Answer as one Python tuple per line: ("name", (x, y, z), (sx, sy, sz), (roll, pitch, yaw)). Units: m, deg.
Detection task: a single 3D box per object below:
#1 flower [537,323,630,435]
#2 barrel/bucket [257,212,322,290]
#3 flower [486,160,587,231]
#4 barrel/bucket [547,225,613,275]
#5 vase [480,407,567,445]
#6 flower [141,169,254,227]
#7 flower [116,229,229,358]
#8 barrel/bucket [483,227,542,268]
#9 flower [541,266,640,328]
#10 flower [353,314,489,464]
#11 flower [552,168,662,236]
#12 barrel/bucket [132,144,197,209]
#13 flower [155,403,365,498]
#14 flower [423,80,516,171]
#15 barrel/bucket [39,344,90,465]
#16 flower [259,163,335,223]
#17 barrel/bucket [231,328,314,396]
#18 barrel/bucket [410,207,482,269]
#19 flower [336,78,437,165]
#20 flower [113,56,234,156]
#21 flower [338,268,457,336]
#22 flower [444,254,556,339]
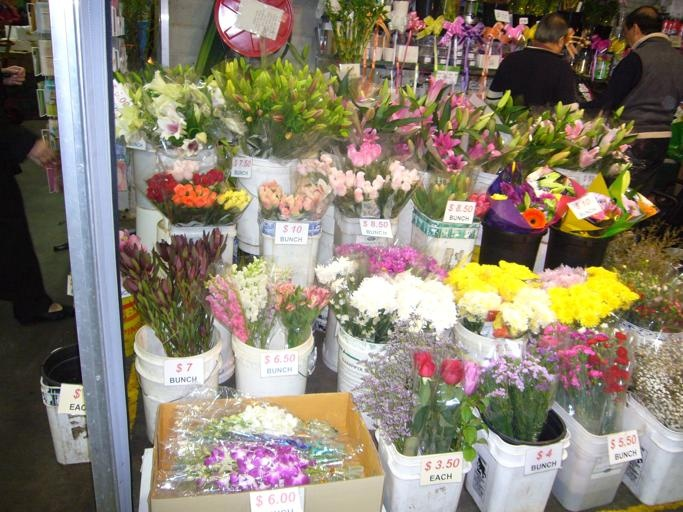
("flower", (0.940, 0.484, 1.942), (0.283, 0.400, 0.309), (-9, 15, -24))
("barrel/bucket", (-0.238, -0.050, 2.481), (0.283, 0.540, 0.303), (4, 18, -1))
("flower", (1.061, -0.360, 2.682), (0.559, 0.291, 0.610), (0, 2, 43))
("barrel/bucket", (1.227, -0.050, 2.650), (0.240, 0.283, 0.246), (5, 12, -1))
("vase", (0.718, 0.671, 1.876), (0.187, 0.077, 0.181), (-2, 24, -1))
("flower", (-0.682, -0.274, 2.312), (0.346, 0.192, 0.292), (0, 21, -7))
("flower", (-0.650, 0.101, 2.168), (0.444, 0.592, 0.438), (-3, 7, -18))
("barrel/bucket", (0.874, -0.084, 2.562), (0.224, 0.194, 0.222), (10, 10, -2))
("flower", (1.050, 0.168, 2.105), (0.291, 0.142, 0.307), (-13, 34, -21))
("flower", (0.334, 0.463, 1.854), (0.421, 0.518, 0.424), (-8, 15, -21))
("flower", (1.333, -0.237, 2.512), (0.394, 0.236, 0.387), (-33, 36, -32))
("barrel/bucket", (-0.927, -0.466, 2.703), (0.300, 0.440, 0.296), (8, 26, -4))
("flower", (-0.283, 0.677, 1.743), (0.506, 0.170, 0.322), (-5, 44, -10))
("flower", (0.691, -0.682, 2.657), (0.532, 0.424, 0.489), (11, 24, 10))
("barrel/bucket", (-1.219, 0.683, 2.213), (0.160, 0.507, 0.382), (-10, 28, -33))
("flower", (-0.201, -0.291, 2.395), (0.301, 0.187, 0.295), (2, 31, 1))
("barrel/bucket", (-0.289, 0.453, 2.111), (0.250, 0.249, 0.266), (4, 28, -2))
("barrel/bucket", (0.572, -0.129, 2.654), (0.314, 0.294, 0.329), (1, 30, 0))
("flower", (0.249, -0.764, 2.703), (0.462, 0.357, 0.482), (6, 33, 5))
("flower", (-0.870, -0.754, 2.555), (0.810, 0.362, 0.467), (18, 26, 24))
("flower", (0.226, 0.196, 2.004), (0.326, 0.253, 0.293), (1, 12, 2))
("flower", (0.675, 0.173, 2.100), (0.311, 0.196, 0.334), (15, 24, 15))
